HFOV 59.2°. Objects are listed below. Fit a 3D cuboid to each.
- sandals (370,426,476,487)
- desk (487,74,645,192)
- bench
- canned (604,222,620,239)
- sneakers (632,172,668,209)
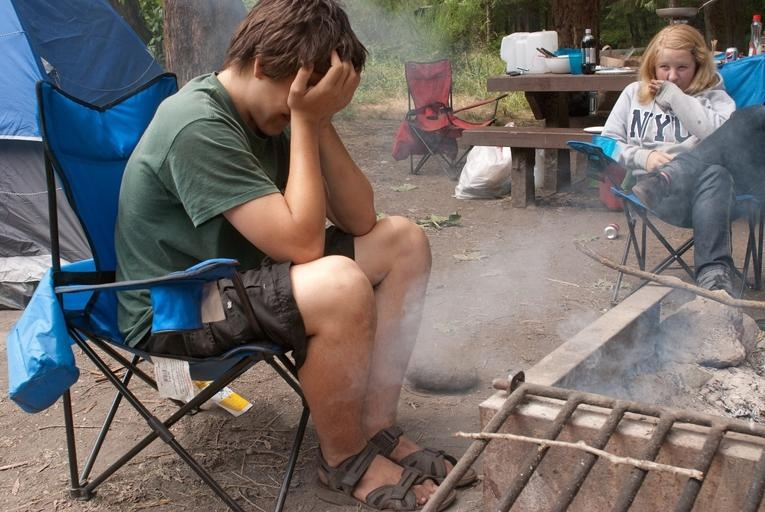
[{"bbox_3d":[0.153,0.793,2.677,0.467,0.115,0.187,18,26,26],"label":"sandals"},{"bbox_3d":[1.581,-1.350,5.944,1.351,0.911,0.745,6,27,21],"label":"desk"},{"bbox_3d":[1.284,-0.707,6.086,0.888,0.503,0.890,-2,17,3],"label":"bench"},{"bbox_3d":[1.752,-0.184,5.134,0.115,0.116,0.125,-20,5,24],"label":"canned"},{"bbox_3d":[1.472,-0.356,3.704,0.208,0.184,0.106,-19,27,-29],"label":"sneakers"}]
